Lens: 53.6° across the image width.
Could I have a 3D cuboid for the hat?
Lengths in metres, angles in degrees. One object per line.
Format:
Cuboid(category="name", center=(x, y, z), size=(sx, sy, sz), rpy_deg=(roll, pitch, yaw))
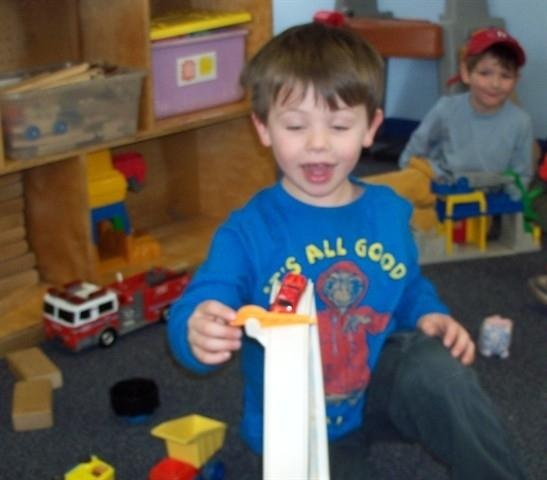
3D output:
Cuboid(category="hat", center=(0.681, -0.614, 1.729), size=(0.116, 0.056, 0.168), rpy_deg=(12, 3, -11))
